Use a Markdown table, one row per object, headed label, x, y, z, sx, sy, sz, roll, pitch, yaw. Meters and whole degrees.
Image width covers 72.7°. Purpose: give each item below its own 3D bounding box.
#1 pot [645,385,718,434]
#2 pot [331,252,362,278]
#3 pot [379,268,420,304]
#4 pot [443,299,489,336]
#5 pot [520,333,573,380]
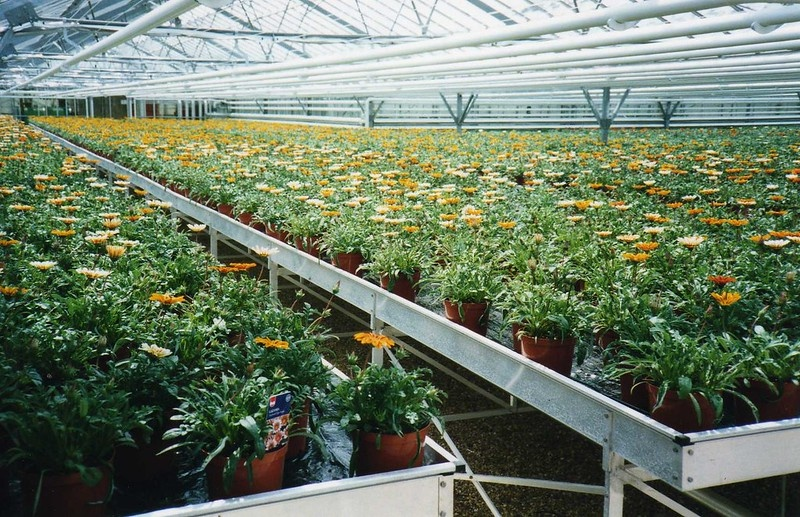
| label | x | y | z | sx | sy | sz | roll | pitch | yaw |
| --- | --- | --- | --- | --- | --- | --- | --- | --- | --- |
| pot | 1.637 | 0.841 | 3.171 | 0.269 | 0.181 | 0.282 | 1 | 1 | 0 |
| pot | -0.527 | 0.076 | 5.457 | 0.243 | 0.173 | 0.241 | 0 | 2 | 0 |
| pot | 0.008 | 0.236 | 4.980 | 0.297 | 0.228 | 0.290 | -1 | 7 | 0 |
| pot | 0.531 | 0.449 | 4.378 | 0.290 | 0.214 | 0.295 | 1 | 0 | 0 |
| pot | 1.029 | 0.654 | 3.844 | 0.297 | 0.210 | 0.291 | 1 | 6 | 0 |
